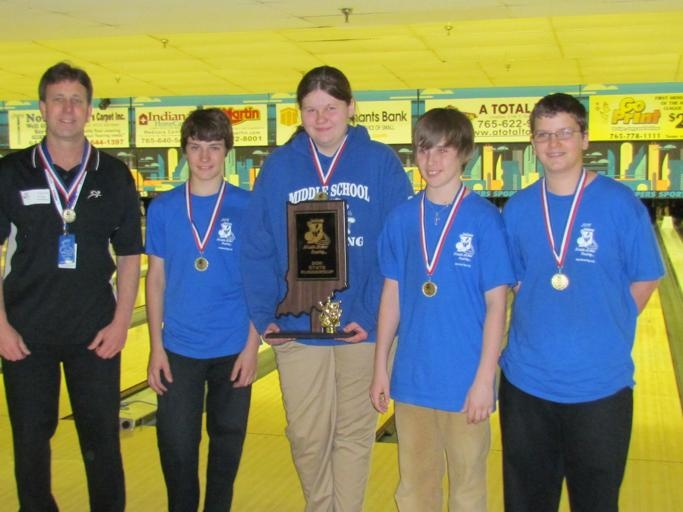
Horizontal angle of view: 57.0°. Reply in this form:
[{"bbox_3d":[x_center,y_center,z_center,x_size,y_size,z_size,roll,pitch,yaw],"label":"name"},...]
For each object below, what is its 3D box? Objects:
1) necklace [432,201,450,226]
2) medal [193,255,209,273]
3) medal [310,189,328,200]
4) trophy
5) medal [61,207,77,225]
[{"bbox_3d":[0.285,-0.132,1.855,0.061,0.056,0.015,7,0,18],"label":"necklace"},{"bbox_3d":[-0.457,0.024,2.041,0.047,0.048,0.018,4,8,21],"label":"medal"},{"bbox_3d":[-0.076,-0.188,1.992,0.044,0.041,0.015,-2,-9,14],"label":"medal"},{"bbox_3d":[-0.095,0.026,1.982,0.220,0.408,0.065,3,8,19],"label":"trophy"},{"bbox_3d":[-0.862,-0.133,1.983,0.044,0.030,0.043,-2,-1,21],"label":"medal"}]
